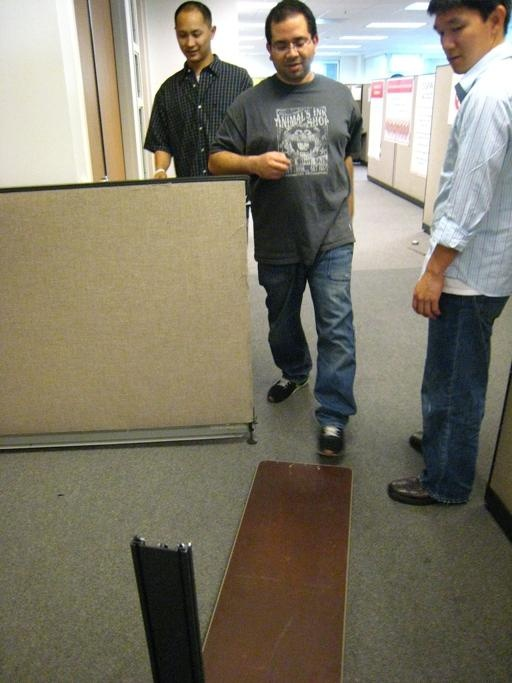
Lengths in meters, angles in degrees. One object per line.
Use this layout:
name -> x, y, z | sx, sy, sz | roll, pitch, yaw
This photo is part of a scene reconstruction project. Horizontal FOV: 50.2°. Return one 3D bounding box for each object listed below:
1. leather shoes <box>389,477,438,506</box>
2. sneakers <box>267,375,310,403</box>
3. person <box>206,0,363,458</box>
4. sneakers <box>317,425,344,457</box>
leather shoes -> 0.480, 0.458, 1.695 | 0.148, 0.064, 0.060 | 7, 41, 8
sneakers -> 0.141, 0.194, 2.410 | 0.076, 0.084, 0.211 | 30, 43, 35
person -> 0.195, -0.291, 1.997 | 0.599, 1.274, 0.437 | 21, 31, 41
sneakers -> 0.263, 0.357, 1.936 | 0.060, 0.053, 0.132 | 1, 29, 7
